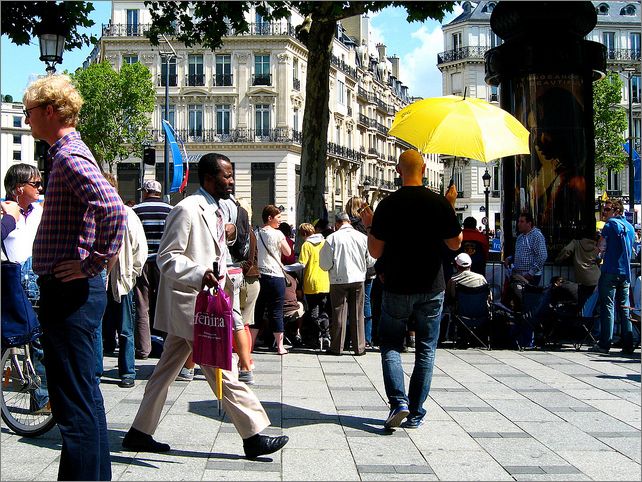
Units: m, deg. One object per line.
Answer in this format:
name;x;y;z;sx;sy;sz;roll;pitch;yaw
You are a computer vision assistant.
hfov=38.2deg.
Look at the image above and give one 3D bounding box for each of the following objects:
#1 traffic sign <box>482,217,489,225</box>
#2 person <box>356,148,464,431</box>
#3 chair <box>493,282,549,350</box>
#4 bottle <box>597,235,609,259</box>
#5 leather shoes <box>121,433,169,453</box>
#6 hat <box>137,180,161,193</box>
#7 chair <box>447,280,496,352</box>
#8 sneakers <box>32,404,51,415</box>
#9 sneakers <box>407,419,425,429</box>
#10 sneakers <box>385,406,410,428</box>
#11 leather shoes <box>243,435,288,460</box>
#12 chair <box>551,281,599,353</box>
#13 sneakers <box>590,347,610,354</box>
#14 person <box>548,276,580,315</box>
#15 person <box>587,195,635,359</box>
traffic sign;7.384;-0.865;41.527;0.088;0.536;0.424;4;-4;-40
person;1.034;0.541;10.515;0.980;3.117;0.898;0;5;2
chair;3.393;1.268;15.127;0.866;1.047;0.951;-3;-4;36
bottle;4.398;0.114;14.526;0.135;0.352;0.288;1;6;7
leather shoes;-1.817;2.111;9.649;0.499;0.211;0.186;6;-1;-10
hat;-2.486;-0.790;13.505;0.269;0.141;0.198;2;1;19
chair;2.480;1.251;14.997;0.740;1.063;0.788;2;-7;0
sneakers;-2.973;1.844;9.947;0.191;0.102;0.140;-17;-20;-7
sneakers;1.071;2.075;10.469;0.082;0.103;0.218;1;4;40
sneakers;0.834;1.961;10.288;0.148;0.154;0.350;10;-44;-25
leather shoes;-0.587;2.109;9.592;0.467;0.209;0.199;-13;21;-2
chair;4.256;1.245;15.352;0.911;1.028;0.948;-2;-3;19
sneakers;4.417;1.762;14.698;0.288;0.128;0.101;7;6;37
person;4.056;0.916;15.507;0.623;0.861;0.457;0;-4;15
person;4.588;0.586;14.537;0.659;2.424;0.552;2;5;17
